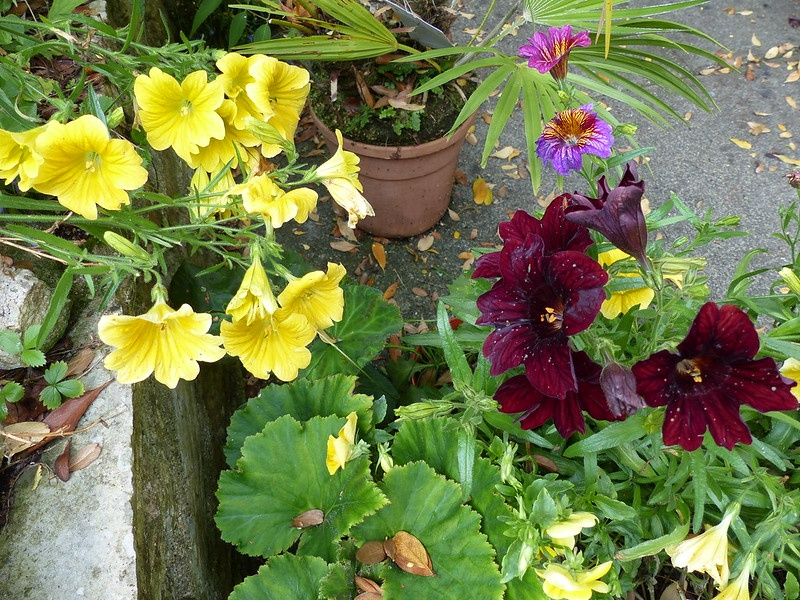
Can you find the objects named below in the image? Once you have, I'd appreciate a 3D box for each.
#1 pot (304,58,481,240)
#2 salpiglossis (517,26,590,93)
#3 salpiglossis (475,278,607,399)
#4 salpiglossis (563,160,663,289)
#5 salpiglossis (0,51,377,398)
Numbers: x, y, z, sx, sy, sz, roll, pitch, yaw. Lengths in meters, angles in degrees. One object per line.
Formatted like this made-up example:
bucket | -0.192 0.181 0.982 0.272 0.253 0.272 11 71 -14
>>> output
pot | -0.050 -0.648 2.814 0.704 0.549 0.714 7 40 -6
salpiglossis | 0.433 -0.678 1.787 0.204 0.206 0.124 -4 89 42
salpiglossis | 0.291 0.073 1.433 0.255 0.184 0.223 17 65 11
salpiglossis | 0.522 -0.153 1.459 0.175 0.176 0.219 -29 76 2
salpiglossis | -0.439 -0.182 1.780 0.991 0.453 0.737 -27 89 -12
